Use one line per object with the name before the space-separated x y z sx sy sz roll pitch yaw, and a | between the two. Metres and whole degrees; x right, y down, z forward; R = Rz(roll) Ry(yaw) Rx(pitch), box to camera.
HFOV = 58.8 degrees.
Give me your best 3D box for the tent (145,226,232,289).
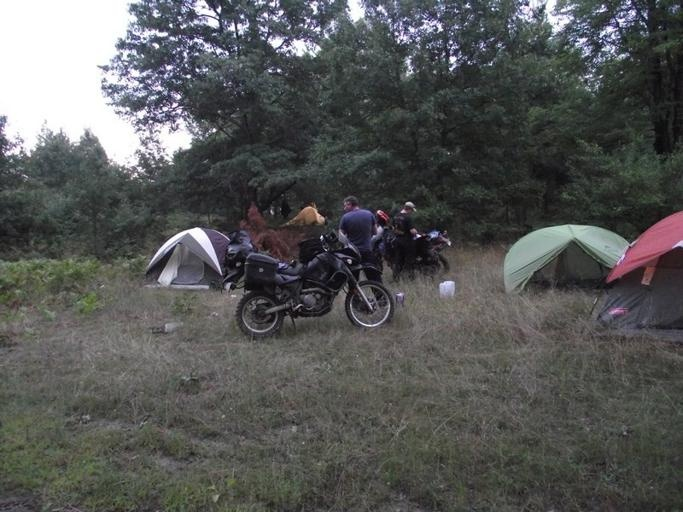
tent | -3.696 0.356 15.402 1.729 1.366 1.895 2 11 10
